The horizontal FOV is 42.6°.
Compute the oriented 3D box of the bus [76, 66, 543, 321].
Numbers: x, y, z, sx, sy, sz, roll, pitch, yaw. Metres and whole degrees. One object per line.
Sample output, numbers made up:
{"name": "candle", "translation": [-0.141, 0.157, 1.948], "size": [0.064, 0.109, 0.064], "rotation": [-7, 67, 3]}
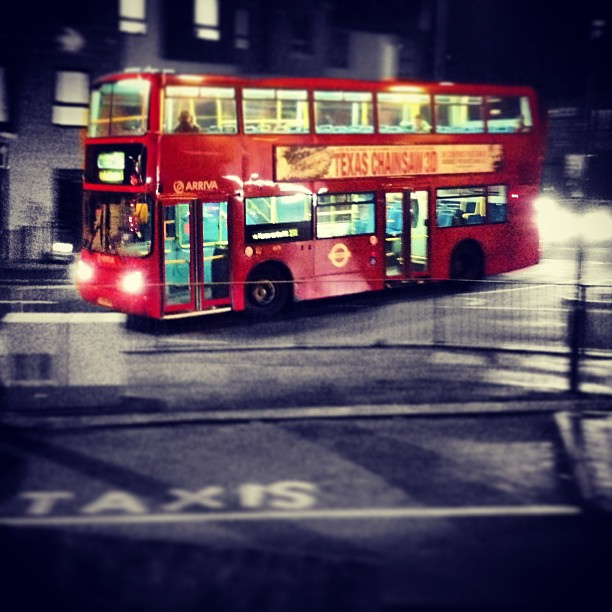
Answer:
{"name": "bus", "translation": [0.727, -2.553, 17.330], "size": [10.120, 4.667, 3.121], "rotation": [-7, 11, -29]}

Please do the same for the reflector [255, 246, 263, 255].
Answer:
{"name": "reflector", "translation": [-0.871, -1.059, 14.953], "size": [0.130, 0.137, 0.031], "rotation": [0, 6, -42]}

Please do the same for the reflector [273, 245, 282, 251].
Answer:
{"name": "reflector", "translation": [-0.541, -1.128, 15.238], "size": [0.193, 0.101, 0.021], "rotation": [-7, 7, -44]}

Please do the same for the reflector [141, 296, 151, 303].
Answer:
{"name": "reflector", "translation": [-2.732, -0.112, 13.559], "size": [0.185, 0.105, 0.011], "rotation": [2, 5, 24]}

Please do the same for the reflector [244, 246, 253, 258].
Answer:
{"name": "reflector", "translation": [-1.053, -1.022, 14.797], "size": [0.034, 0.204, 0.194], "rotation": [2, 6, 38]}

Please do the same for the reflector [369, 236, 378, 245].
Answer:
{"name": "reflector", "translation": [1.452, -1.394, 16.723], "size": [0.141, 0.159, 0.035], "rotation": [-1, 5, -28]}
